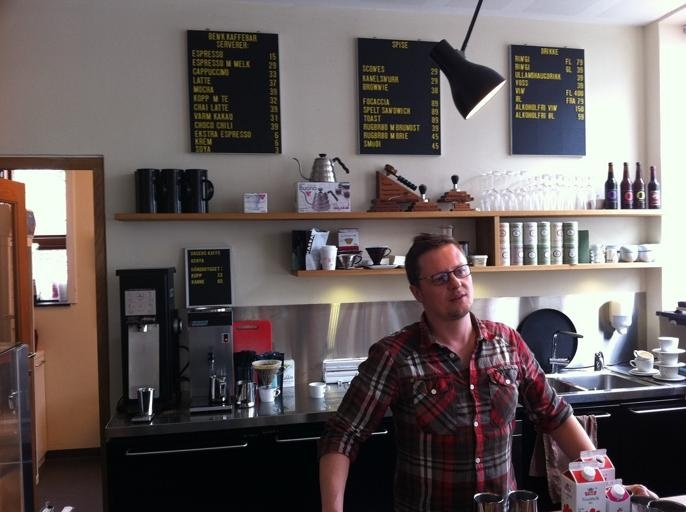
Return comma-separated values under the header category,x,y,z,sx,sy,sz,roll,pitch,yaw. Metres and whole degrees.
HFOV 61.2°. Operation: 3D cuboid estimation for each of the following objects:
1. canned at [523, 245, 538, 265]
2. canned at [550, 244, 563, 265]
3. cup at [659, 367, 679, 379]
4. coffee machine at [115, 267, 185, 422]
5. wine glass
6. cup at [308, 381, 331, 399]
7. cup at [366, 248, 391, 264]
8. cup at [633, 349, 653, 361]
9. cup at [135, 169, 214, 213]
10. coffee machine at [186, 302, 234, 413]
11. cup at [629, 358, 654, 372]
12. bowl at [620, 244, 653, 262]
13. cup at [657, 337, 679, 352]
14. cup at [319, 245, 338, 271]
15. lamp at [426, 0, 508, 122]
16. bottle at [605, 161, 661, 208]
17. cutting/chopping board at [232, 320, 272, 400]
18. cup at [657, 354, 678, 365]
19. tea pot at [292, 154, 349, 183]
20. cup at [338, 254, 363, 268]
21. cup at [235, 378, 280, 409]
category,x,y,z,sx,sy,sz,roll,pitch,yaw
canned,1.355,-0.011,4.237,0.114,0.138,0.118,1,-1,-7
canned,1.565,-0.023,4.200,0.109,0.191,0.119,1,-1,29
cup,2.269,0.798,4.010,0.089,0.068,0.093,0,-7,0
coffee machine,-1.229,0.519,3.768,0.421,0.694,0.313,-3,2,-32
wine glass,1.486,-0.492,4.344,0.951,0.303,0.208,-3,2,-15
cup,-0.154,0.883,3.860,0.079,0.068,0.100,1,1,43
cup,0.250,-0.012,4.067,0.128,0.093,0.120,-1,-8,0
cup,2.169,0.709,4.194,0.072,0.039,0.101,1,-5,-1
cup,-1.122,-0.431,3.825,0.390,0.259,0.297,0,0,-7
coffee machine,-0.883,0.646,3.842,0.331,0.603,0.525,1,3,-3
cup,2.174,0.765,4.206,0.141,0.101,0.102,-3,-2,36
bowl,2.213,-0.021,4.344,0.182,0.097,0.138,0,-5,4
cup,2.309,0.613,4.101,0.108,0.077,0.105,-1,0,0
cup,-0.094,0.015,3.953,0.139,0.159,0.142,-1,0,0
lamp,0.745,-1.204,3.430,0.386,0.878,0.874,-2,2,14
bottle,2.183,-0.490,4.351,0.357,0.372,0.372,0,1,11
cutting/chopping board,-0.658,0.670,3.984,0.382,0.464,0.038,4,-10,-37
cup,2.290,0.714,4.066,0.087,0.069,0.090,0,-1,0
tea pot,-0.159,-0.607,4.070,0.420,0.230,0.186,-1,2,-7
cup,0.063,0.034,4.045,0.137,0.077,0.087,-3,-2,-16
cup,-0.563,0.887,3.719,0.299,0.145,0.118,5,-8,-36
